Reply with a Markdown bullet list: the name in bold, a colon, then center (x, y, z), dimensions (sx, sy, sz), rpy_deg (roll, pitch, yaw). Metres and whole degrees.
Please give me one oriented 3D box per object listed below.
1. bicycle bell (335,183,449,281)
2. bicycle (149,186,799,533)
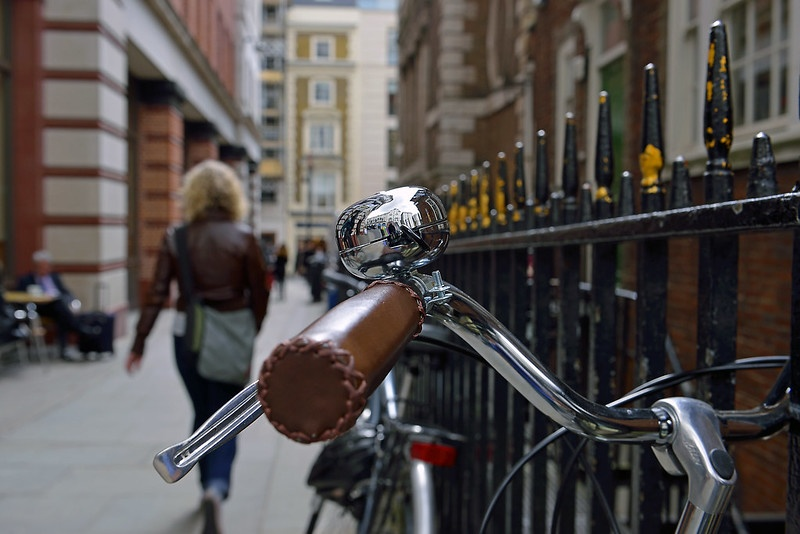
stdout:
- **bicycle bell**: center (-0.009, -0.081, 1.791), dimensions (0.191, 0.200, 0.156), rpy_deg (-12, 11, -7)
- **bicycle**: center (0.192, 0.158, 1.691), dimensions (0.645, 0.327, 0.729), rpy_deg (-3, -3, 5)
